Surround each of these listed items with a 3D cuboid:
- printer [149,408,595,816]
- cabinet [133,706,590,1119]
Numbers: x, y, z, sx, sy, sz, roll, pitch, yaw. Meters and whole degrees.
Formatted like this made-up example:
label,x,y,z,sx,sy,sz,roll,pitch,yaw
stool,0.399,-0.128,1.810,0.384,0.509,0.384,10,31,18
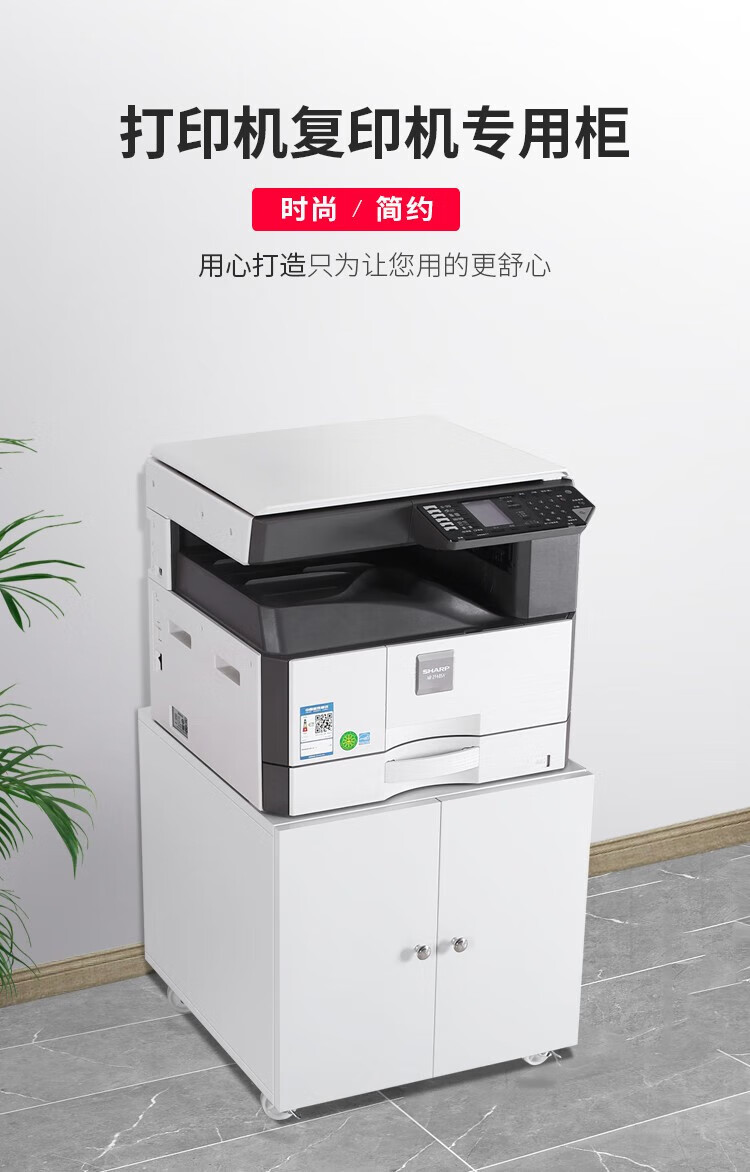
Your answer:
label,x,y,z,sx,sy,sz,roll,pitch,yaw
printer,-0.032,0.037,1.669,0.591,0.428,0.570,-3,15,-16
cabinet,-0.048,0.457,1.875,0.594,0.537,0.633,-5,12,-26
